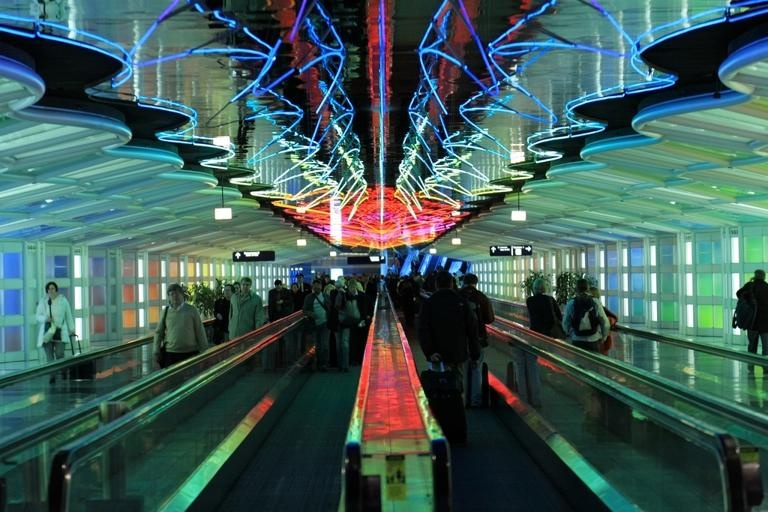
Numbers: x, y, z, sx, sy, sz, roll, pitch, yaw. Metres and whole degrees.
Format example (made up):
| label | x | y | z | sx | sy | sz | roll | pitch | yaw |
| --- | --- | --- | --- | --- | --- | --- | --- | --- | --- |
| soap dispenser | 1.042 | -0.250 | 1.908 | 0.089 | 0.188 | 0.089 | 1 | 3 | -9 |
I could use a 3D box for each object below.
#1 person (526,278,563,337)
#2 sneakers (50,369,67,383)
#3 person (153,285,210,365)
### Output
| label | x | y | z | sx | sy | sz | roll | pitch | yaw |
| --- | --- | --- | --- | --- | --- | --- | --- | --- | --- |
| person | 3.053 | 0.983 | 11.431 | 0.648 | 0.884 | 1.185 | -5 | -3 | 12 |
| sneakers | -5.351 | 1.959 | 9.813 | 0.207 | 0.208 | 0.601 | 3 | -15 | -17 |
| person | -3.477 | 1.192 | 10.327 | 0.731 | 1.455 | 1.018 | -2 | -3 | -37 |
